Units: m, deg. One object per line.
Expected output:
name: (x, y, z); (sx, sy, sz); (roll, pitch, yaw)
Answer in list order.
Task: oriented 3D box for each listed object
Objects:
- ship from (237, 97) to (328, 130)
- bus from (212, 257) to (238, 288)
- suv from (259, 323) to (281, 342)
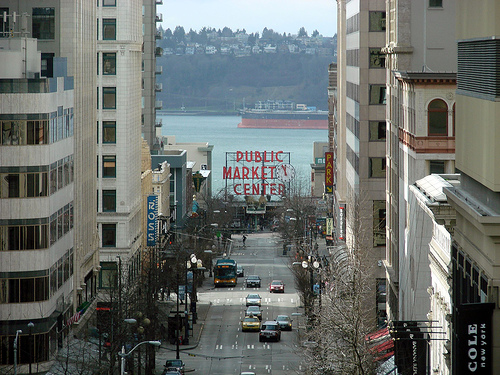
ship: (20.787, -46.909, 596.511); (55.171, 19.380, 20.034); (-1, 11, -6)
bus: (-3.513, 11.908, 132.524); (2.295, 3.460, 7.169); (-1, -5, 2)
suv: (2.029, 14.371, 94.479); (2.151, 1.729, 1.898); (1, -2, -41)
